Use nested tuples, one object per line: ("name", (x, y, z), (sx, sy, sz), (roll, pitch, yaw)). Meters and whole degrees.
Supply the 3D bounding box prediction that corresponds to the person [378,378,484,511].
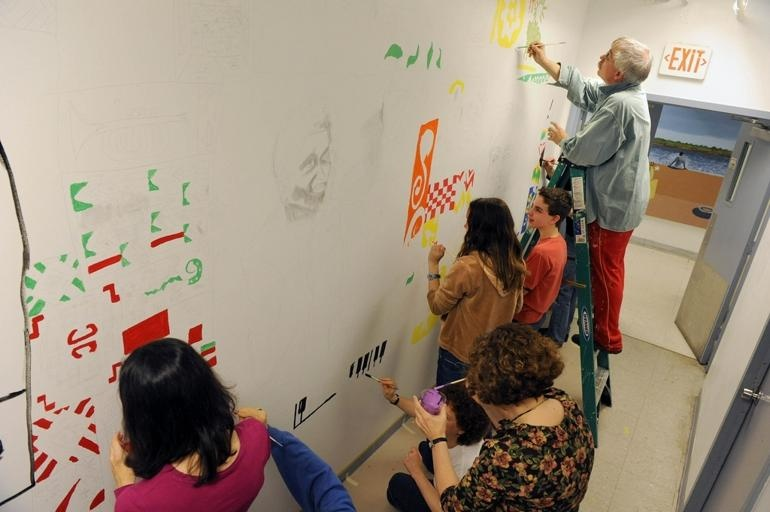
("person", (0.237, 0.988, 2.497), (0.515, 0.739, 0.500), (16, 49, 14))
